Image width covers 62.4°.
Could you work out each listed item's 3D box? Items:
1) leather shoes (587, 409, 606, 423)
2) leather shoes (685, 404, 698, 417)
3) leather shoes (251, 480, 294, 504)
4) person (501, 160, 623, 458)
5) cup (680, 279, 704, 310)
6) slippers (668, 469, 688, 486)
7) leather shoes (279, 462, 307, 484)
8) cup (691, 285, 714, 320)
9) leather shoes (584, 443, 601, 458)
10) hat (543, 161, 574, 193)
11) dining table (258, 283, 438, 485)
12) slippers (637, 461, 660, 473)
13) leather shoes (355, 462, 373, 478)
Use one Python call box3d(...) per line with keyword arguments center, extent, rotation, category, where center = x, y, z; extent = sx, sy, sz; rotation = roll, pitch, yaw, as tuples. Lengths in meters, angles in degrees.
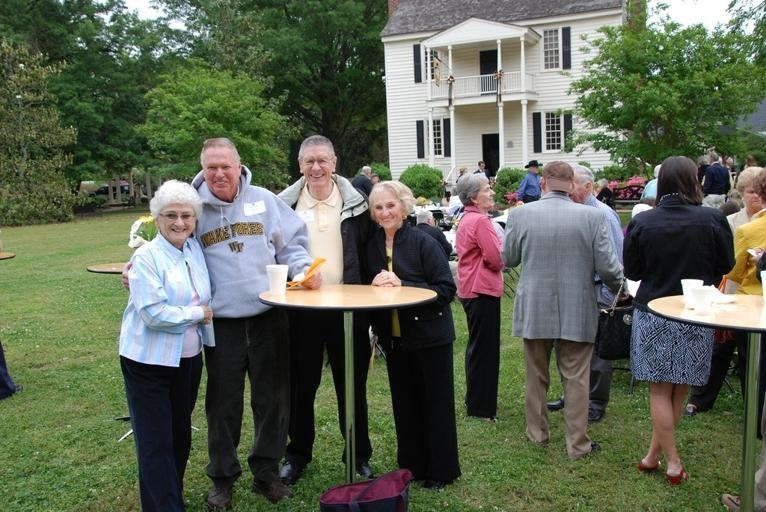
box3d(center=(2.270, 1.696, 6.800), extent=(0.113, 0.142, 0.312), rotation=(0, -2, 41), category="leather shoes")
box3d(center=(3.287, 1.644, 6.744), extent=(0.093, 0.057, 0.141), rotation=(-4, -2, 20), category="leather shoes")
box3d(center=(-0.982, 2.101, 5.674), extent=(0.317, 0.139, 0.166), rotation=(6, 10, 18), category="leather shoes")
box3d(center=(1.818, 0.507, 6.498), extent=(1.126, 2.764, 0.865), rotation=(1, 7, 17), category="person")
box3d(center=(2.471, 0.305, 5.173), extent=(0.201, 0.239, 0.208), rotation=(-1, 7, 0), category="cup")
box3d(center=(2.660, 1.996, 5.729), extent=(0.097, 0.071, 0.201), rotation=(-2, 1, 25), category="slippers")
box3d(center=(-0.856, 2.030, 5.909), extent=(0.103, 0.133, 0.313), rotation=(-3, -10, 6), category="leather shoes")
box3d(center=(2.522, 0.367, 5.018), extent=(0.204, 0.243, 0.212), rotation=(4, -2, 0), category="cup")
box3d(center=(2.052, 1.899, 6.194), extent=(0.099, 0.132, 0.051), rotation=(43, -4, 2), category="leather shoes")
box3d(center=(1.718, -0.756, 6.183), extent=(0.222, 0.201, 0.359), rotation=(3, 12, 3), category="hat")
box3d(center=(-0.295, 1.085, 5.379), extent=(1.535, 1.787, 1.544), rotation=(0, 5, 24), category="dining table")
box3d(center=(2.473, 1.971, 5.950), extent=(0.236, 0.090, 0.082), rotation=(-2, 12, 11), category="slippers")
box3d(center=(-0.165, 2.009, 5.922), extent=(0.080, 0.110, 0.151), rotation=(-5, -29, -15), category="leather shoes")
